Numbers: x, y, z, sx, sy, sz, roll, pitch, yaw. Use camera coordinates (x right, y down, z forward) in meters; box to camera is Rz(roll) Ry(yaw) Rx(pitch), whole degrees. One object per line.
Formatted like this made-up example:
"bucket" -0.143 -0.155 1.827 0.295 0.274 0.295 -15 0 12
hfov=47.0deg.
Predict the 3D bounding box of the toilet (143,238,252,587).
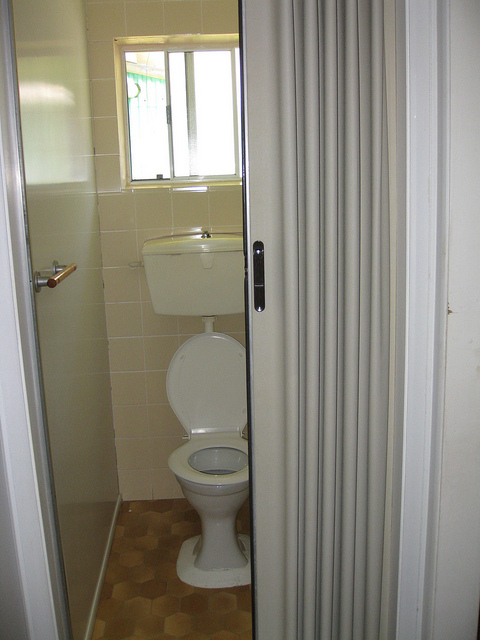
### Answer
"toilet" -0.157 0.287 2.021 0.363 1.156 0.609 0 9 -2

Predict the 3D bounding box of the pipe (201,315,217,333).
"pipe" -0.118 0.014 2.090 0.048 0.061 0.049 -5 5 -32
